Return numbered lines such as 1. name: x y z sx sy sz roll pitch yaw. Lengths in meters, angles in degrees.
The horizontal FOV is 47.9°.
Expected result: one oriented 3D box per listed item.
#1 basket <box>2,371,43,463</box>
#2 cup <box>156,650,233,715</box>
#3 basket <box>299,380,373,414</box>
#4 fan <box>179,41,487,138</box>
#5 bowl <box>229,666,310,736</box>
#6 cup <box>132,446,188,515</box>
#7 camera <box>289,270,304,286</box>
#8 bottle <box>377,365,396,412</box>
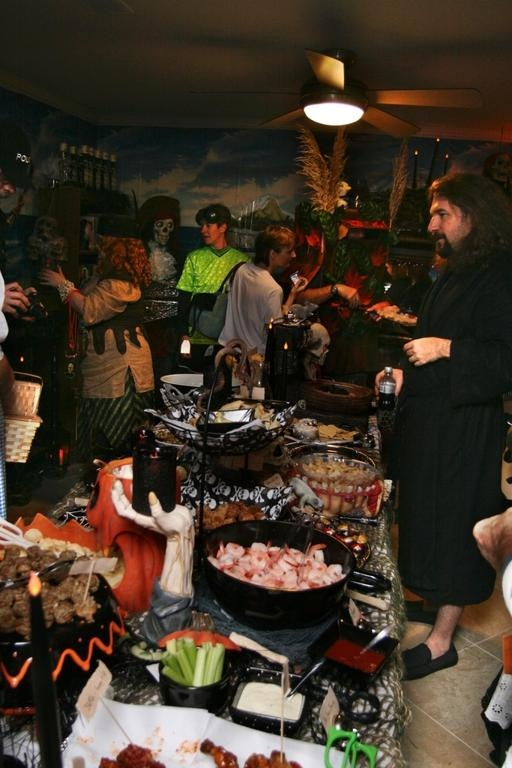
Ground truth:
1. basket: -0.627 0.108 1.559 0.087 0.251 0.208 2 6 -20
2. cup: -0.090 0.468 0.890 0.120 0.070 0.107 3 5 -8
3. basket: 0.339 0.056 2.520 0.200 0.075 0.193 6 7 44
4. fan: 0.472 -1.619 3.144 0.819 0.226 0.932 1 4 3
5. bowl: 0.018 0.501 0.892 0.110 0.052 0.137 5 5 12
6. cup: -0.179 0.173 1.034 0.082 0.111 0.136 3 5 -10
7. camera: 0.315 -0.805 4.429 0.115 0.114 0.097 2 2 35
8. bottle: 0.508 0.024 2.231 0.066 0.183 0.145 5 6 12
